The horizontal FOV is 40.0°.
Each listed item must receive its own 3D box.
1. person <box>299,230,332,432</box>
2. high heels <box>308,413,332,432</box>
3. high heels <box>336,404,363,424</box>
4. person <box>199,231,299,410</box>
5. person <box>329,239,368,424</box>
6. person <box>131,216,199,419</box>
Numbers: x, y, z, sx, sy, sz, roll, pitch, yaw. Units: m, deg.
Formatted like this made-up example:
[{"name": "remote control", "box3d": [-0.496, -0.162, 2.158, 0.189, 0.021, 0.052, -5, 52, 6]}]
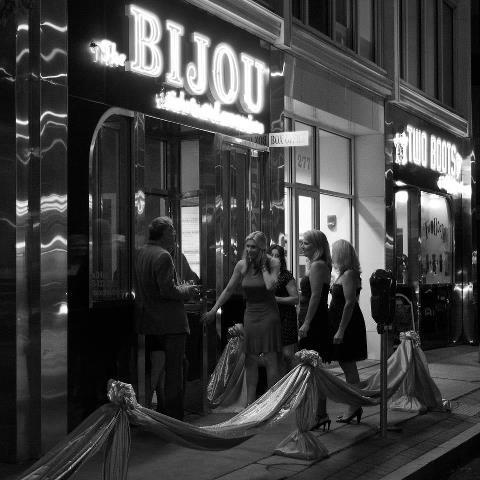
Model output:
[{"name": "person", "box3d": [0.709, 0.819, 6.229, 0.323, 1.819, 0.857, -1, -2, 6]}, {"name": "high heels", "box3d": [0.745, 1.656, 5.944, 0.273, 0.133, 0.135, 1, -4, -45]}, {"name": "high heels", "box3d": [1.009, 1.675, 6.297, 0.298, 0.231, 0.117, 0, -1, -3]}, {"name": "person", "box3d": [0.021, 0.856, 6.800, 0.806, 1.807, 0.864, -1, -2, 10]}, {"name": "person", "box3d": [1.020, 0.875, 6.325, 0.346, 1.745, 0.438, -1, -2, 9]}, {"name": "person", "box3d": [-0.700, 0.730, 6.037, 0.545, 1.838, 0.596, 0, -2, -16]}]
